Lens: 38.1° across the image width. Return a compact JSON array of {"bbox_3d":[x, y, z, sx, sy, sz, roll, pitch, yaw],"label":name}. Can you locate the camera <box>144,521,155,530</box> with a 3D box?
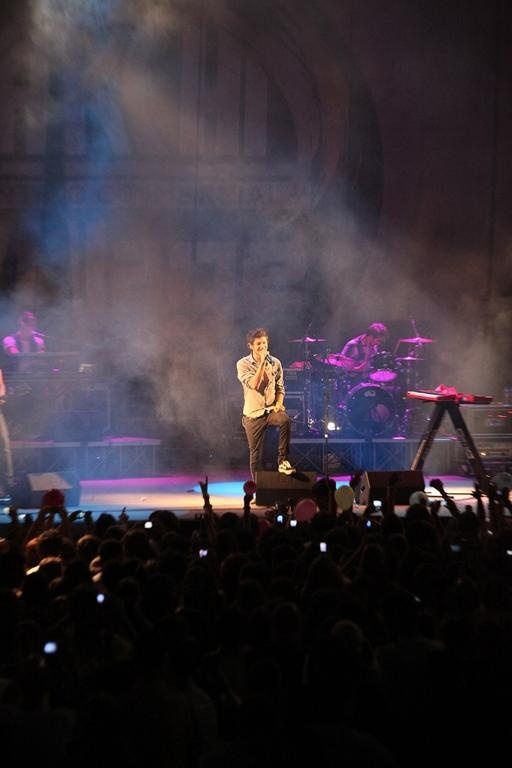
[{"bbox_3d":[-0.424,0.558,2.923,0.029,0.026,0.037,1,-8,-2],"label":"camera"}]

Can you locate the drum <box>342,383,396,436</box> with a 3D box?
[{"bbox_3d":[1.112,0.240,7.553,0.523,0.470,0.520,-9,7,-2],"label":"drum"}]

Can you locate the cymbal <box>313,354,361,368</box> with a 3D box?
[{"bbox_3d":[0.910,-0.236,8.087,0.542,0.151,0.358,2,3,-19],"label":"cymbal"}]

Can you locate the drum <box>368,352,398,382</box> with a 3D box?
[{"bbox_3d":[1.390,-0.167,8.162,0.362,0.329,0.356,-3,-16,16],"label":"drum"}]

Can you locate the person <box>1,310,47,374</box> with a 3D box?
[{"bbox_3d":[-2.452,-0.461,7.863,0.443,0.604,1.461,3,3,-16],"label":"person"}]
